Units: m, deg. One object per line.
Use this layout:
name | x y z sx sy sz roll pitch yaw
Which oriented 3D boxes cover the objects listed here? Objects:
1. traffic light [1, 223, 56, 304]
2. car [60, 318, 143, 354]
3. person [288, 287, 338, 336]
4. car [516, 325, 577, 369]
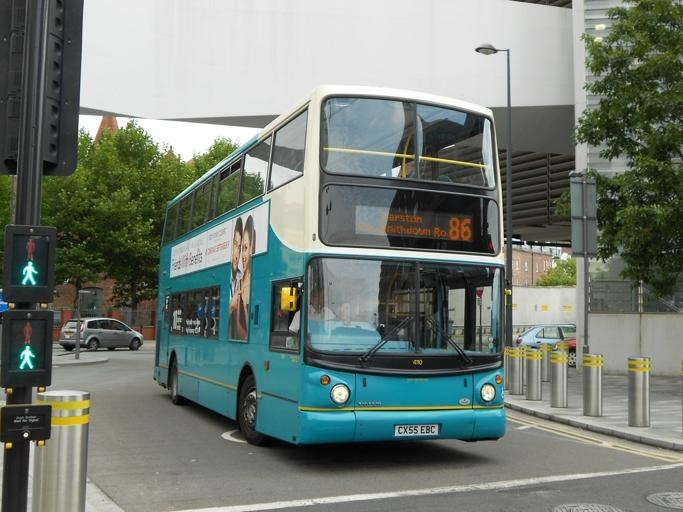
traffic light | -2.474 0.065 5.480 0.376 0.610 0.287 2 -5 -27
car | -13.564 4.436 38.953 1.613 1.836 4.535 -5 -7 40
person | -0.381 0.727 9.053 0.658 0.585 0.236 -5 -6 36
car | 8.647 3.680 28.425 2.076 1.669 3.040 -2 -6 19
